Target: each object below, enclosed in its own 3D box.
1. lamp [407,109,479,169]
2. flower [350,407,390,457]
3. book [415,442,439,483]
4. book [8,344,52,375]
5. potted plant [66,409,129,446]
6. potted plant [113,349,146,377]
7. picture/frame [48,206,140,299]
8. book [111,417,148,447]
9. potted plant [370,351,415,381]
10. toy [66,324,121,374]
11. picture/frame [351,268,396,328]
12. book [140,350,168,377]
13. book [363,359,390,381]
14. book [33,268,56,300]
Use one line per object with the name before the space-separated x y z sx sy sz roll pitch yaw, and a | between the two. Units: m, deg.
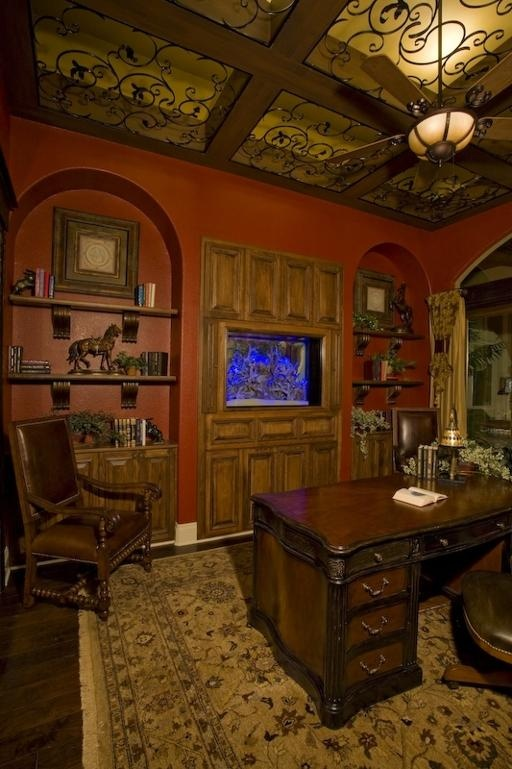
lamp | 0.967 -1.290 2.748 0.276 0.178 0.338 -5 8 -43
flower | 1.145 0.476 5.309 0.378 0.289 0.494 0 1 -21
book | 1.073 0.485 3.275 0.166 0.246 0.191 1 2 10
book | -1.588 -0.173 3.653 0.252 0.194 0.244 2 0 -26
potted plant | -1.229 0.339 3.963 0.352 0.255 0.260 3 -2 -18
potted plant | -1.026 -0.148 4.229 0.228 0.167 0.208 3 -4 -27
picture/frame | -1.311 -1.036 4.131 0.806 0.841 0.065 2 -3 -30
book | -0.991 0.359 4.113 0.261 0.263 0.188 1 -6 -29
potted plant | 1.433 -0.185 5.776 0.465 0.203 0.321 1 0 -18
toy | -1.256 -0.294 4.108 0.420 0.359 0.341 -2 6 -25
picture/frame | 1.296 -0.969 5.843 0.747 0.843 0.091 2 -2 -31
book | -0.828 -0.161 4.256 0.249 0.249 0.184 1 -4 -32
book | 1.324 -0.162 5.682 0.120 0.213 0.211 0 7 -31
book | -1.513 -0.720 3.761 0.154 0.212 0.123 -5 8 -43
